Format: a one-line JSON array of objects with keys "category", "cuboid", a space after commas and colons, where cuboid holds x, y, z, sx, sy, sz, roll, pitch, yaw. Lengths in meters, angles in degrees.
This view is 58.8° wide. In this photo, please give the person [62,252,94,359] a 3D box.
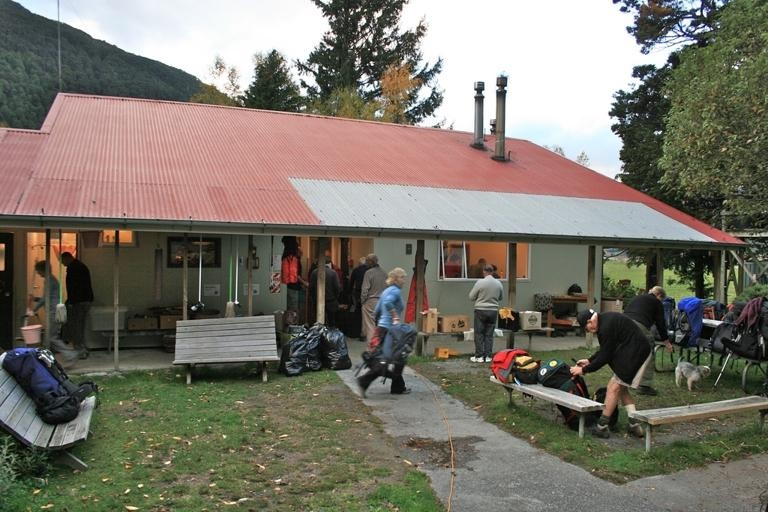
[{"category": "person", "cuboid": [-7.184, 1.143, 15.862, 0.751, 2.435, 0.517, 4, -7, -42]}]

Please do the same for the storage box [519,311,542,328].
[{"category": "storage box", "cuboid": [3.726, 1.610, 17.393, 0.449, 0.392, 0.454, -1, -2, 28]}]

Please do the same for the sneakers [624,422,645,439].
[{"category": "sneakers", "cuboid": [4.520, 3.149, 12.310, 0.306, 0.296, 0.239, -7, -4, 31]}]

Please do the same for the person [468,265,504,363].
[{"category": "person", "cuboid": [2.445, 1.392, 16.518, 0.761, 2.344, 1.086, -1, -5, 7]}]

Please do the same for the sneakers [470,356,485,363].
[{"category": "sneakers", "cuboid": [2.224, 2.507, 16.518, 0.119, 0.135, 0.300, -2, 4, -42]}]

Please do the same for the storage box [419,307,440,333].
[{"category": "storage box", "cuboid": [1.139, 1.644, 16.993, 0.522, 0.569, 0.527, 2, -7, -18]}]

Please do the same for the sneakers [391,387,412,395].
[{"category": "sneakers", "cuboid": [0.359, 2.782, 14.129, 0.408, 0.167, 0.141, -2, 3, -21]}]

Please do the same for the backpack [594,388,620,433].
[{"category": "backpack", "cuboid": [4.097, 2.809, 12.578, 0.282, 0.515, 0.977, 2, 28, 13]}]

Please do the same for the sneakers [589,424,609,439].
[{"category": "sneakers", "cuboid": [3.862, 3.156, 12.284, 0.181, 0.166, 0.340, 0, 2, -32]}]

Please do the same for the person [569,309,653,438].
[{"category": "person", "cuboid": [4.297, 2.127, 12.464, 1.098, 2.266, 1.604, -5, -7, 42]}]

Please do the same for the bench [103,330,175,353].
[{"category": "bench", "cuboid": [-6.091, 2.117, 16.874, 1.725, 0.556, 0.887, 1, -5, -19]}]
